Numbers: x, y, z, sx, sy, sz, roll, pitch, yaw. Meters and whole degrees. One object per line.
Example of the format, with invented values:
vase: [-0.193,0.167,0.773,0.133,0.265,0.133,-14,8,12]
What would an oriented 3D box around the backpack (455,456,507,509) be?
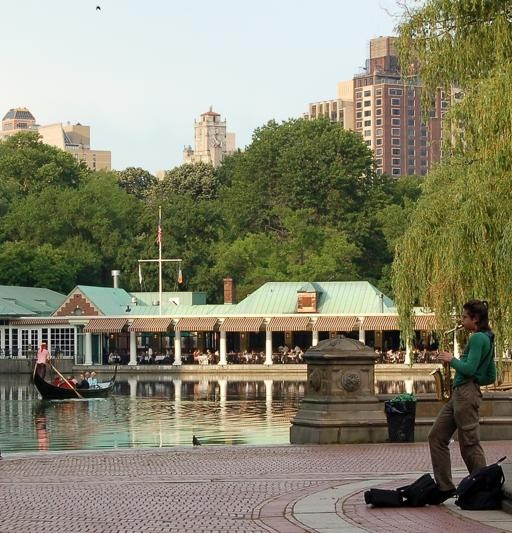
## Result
backpack: [2.542,2.511,15.335,0.577,0.550,0.285,-7,0,7]

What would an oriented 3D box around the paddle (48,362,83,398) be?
paddle: [-7.238,4.322,51.372,0.151,1.794,0.246,-25,-18,-36]

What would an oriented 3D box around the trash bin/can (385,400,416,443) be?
trash bin/can: [2.444,2.614,22.792,0.530,0.714,0.613,0,-12,-2]

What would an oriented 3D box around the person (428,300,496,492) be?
person: [2.391,1.533,15.683,0.854,2.195,0.512,-6,1,8]
